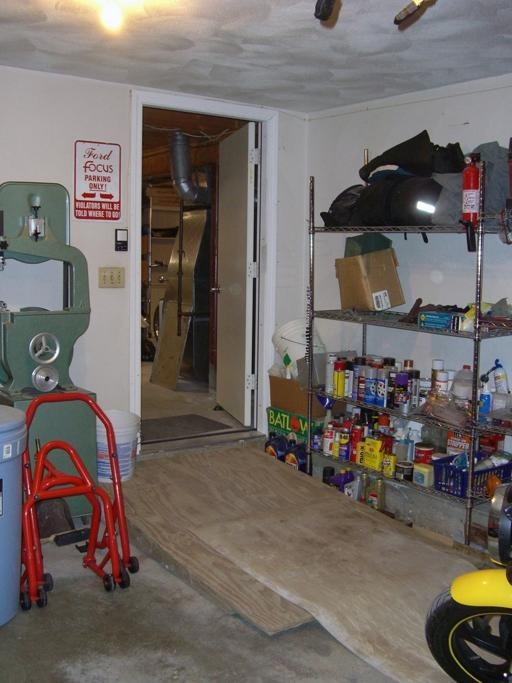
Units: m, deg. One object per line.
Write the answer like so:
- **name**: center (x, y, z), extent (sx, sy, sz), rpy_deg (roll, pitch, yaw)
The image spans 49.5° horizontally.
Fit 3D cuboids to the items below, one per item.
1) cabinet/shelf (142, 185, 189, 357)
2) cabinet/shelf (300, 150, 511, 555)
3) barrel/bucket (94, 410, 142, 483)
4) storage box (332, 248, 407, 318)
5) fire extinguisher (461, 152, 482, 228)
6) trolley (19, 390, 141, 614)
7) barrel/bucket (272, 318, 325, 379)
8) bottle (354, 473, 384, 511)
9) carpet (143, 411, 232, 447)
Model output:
- **cabinet/shelf**: center (-1.359, -0.951, 7.886), extent (0.511, 2.496, 0.716), rpy_deg (0, 4, -12)
- **cabinet/shelf**: center (0.830, -0.052, 3.294), extent (0.629, 2.002, 1.566), rpy_deg (-2, 5, -34)
- **barrel/bucket**: center (-0.800, 0.662, 3.316), extent (0.319, 0.337, 0.321), rpy_deg (-7, -17, -2)
- **storage box**: center (0.692, -0.380, 3.456), extent (0.283, 0.330, 0.366), rpy_deg (-12, 7, -14)
- **fire extinguisher**: center (0.999, -0.699, 2.572), extent (0.080, 0.317, 0.121), rpy_deg (2, 4, 20)
- **trolley**: center (-0.749, 0.601, 2.315), extent (0.507, 0.803, 0.843), rpy_deg (0, 4, -12)
- **barrel/bucket**: center (0.348, 0.073, 4.079), extent (0.401, 0.319, 0.396), rpy_deg (-3, -17, -1)
- **bottle**: center (0.655, 0.868, 3.203), extent (0.096, 0.277, 0.207), rpy_deg (0, 2, -29)
- **carpet**: center (-0.609, 0.683, 4.488), extent (0.755, 0.023, 0.918), rpy_deg (-1, 5, -21)
